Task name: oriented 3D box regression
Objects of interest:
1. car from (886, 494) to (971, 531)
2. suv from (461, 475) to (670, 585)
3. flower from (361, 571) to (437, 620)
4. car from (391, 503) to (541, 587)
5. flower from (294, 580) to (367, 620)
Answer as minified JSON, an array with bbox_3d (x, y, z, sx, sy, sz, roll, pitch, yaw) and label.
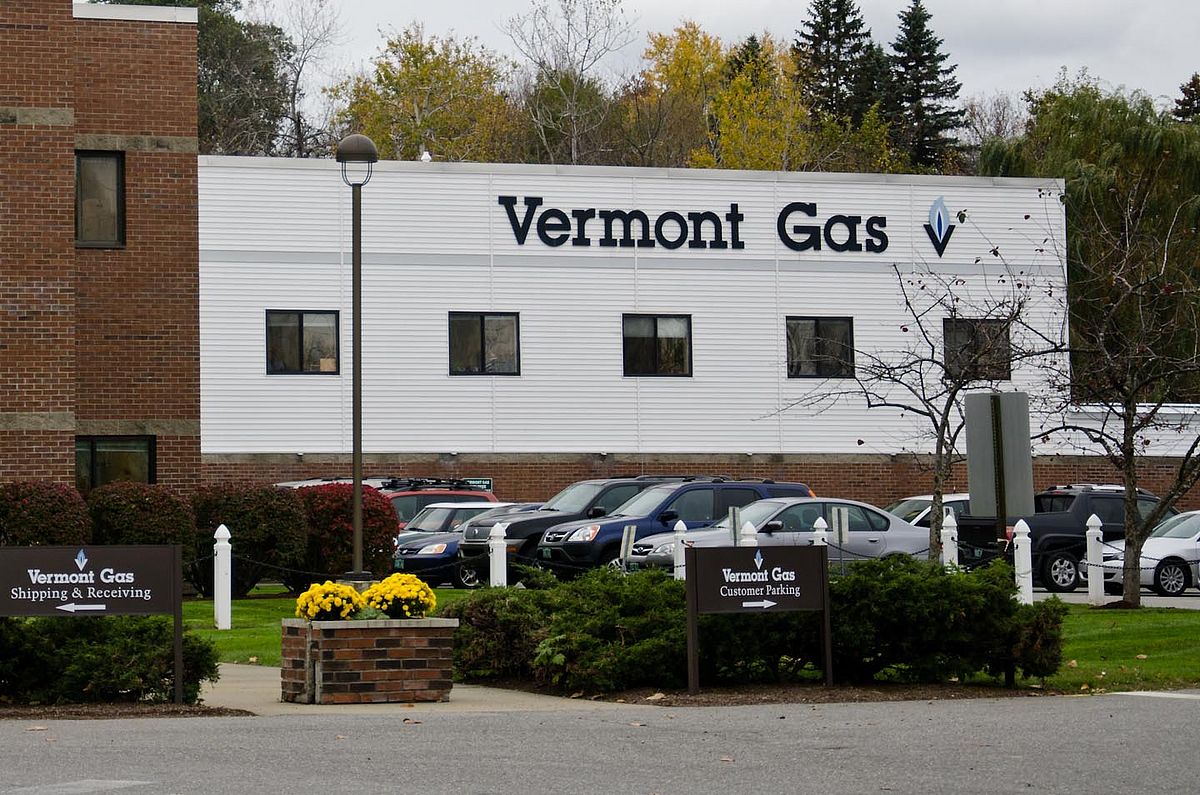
[{"bbox_3d":[7.302,2.499,51.927,1.621,0.724,0.752,-4,4,-37],"label":"car"},{"bbox_3d":[-1.112,2.569,49.905,6.832,2.817,3.252,1,-2,-16],"label":"suv"},{"bbox_3d":[-3.270,3.262,37.916,0.806,0.595,0.802,-1,-1,43],"label":"flower"},{"bbox_3d":[-3.164,3.180,52.126,1.452,1.267,3.053,-4,-6,45],"label":"car"},{"bbox_3d":[-4.370,3.302,37.700,0.713,0.485,0.736,0,-1,-14],"label":"flower"}]
